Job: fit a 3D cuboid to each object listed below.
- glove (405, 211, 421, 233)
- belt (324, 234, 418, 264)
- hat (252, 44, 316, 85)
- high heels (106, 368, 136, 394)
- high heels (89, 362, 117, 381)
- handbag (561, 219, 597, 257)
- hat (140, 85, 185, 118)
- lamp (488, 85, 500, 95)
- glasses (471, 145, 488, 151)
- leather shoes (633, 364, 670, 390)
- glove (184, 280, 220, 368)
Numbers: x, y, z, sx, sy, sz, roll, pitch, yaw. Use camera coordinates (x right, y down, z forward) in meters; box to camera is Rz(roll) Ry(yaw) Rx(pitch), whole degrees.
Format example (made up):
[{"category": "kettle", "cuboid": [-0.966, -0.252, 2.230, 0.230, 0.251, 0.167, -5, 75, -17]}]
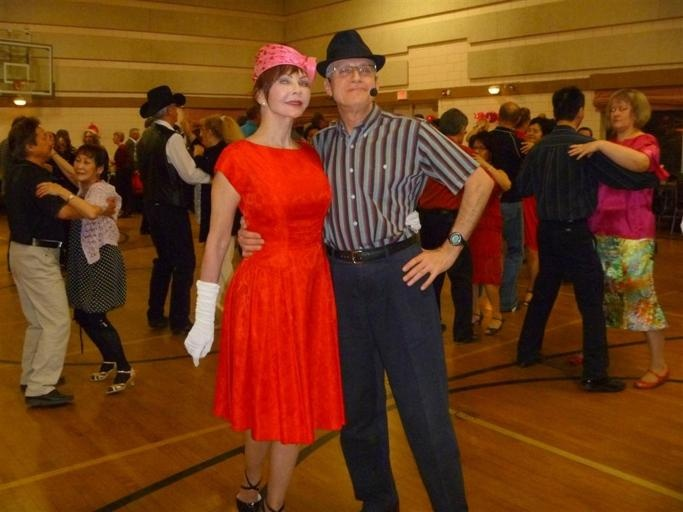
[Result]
[{"category": "glove", "cuboid": [0.319, -0.146, 2.205, 0.032, 0.082, 0.081, 3, -4, -7]}, {"category": "belt", "cuboid": [0.127, -0.025, 2.219, 0.412, 0.108, 0.136, 1, 12, 9]}, {"category": "hat", "cuboid": [-0.238, -0.834, 2.239, 0.274, 0.140, 0.212, -2, -1, -6]}, {"category": "high heels", "cuboid": [-1.699, 0.970, 3.919, 0.107, 0.161, 0.308, -4, -1, 19]}, {"category": "high heels", "cuboid": [-1.976, 0.961, 4.224, 0.099, 0.103, 0.252, -2, 0, 6]}, {"category": "handbag", "cuboid": [1.769, -0.119, 3.795, 0.234, 0.309, 0.174, -6, 6, 25]}, {"category": "hat", "cuboid": [-1.828, -1.614, 5.397, 0.398, 0.194, 0.504, -23, 20, 16]}, {"category": "lamp", "cuboid": [3.708, -3.952, 12.279, 0.216, 0.143, 0.227, 0, -2, -14]}, {"category": "glasses", "cuboid": [1.388, -1.060, 5.036, 0.097, 0.046, 0.125, 0, -1, 10]}, {"category": "leather shoes", "cuboid": [2.345, 0.906, 3.835, 0.278, 0.111, 0.113, -11, 8, -23]}, {"category": "glove", "cuboid": [-0.603, 0.297, 2.205, 0.148, 0.440, 0.254, -5, 12, -17]}]
